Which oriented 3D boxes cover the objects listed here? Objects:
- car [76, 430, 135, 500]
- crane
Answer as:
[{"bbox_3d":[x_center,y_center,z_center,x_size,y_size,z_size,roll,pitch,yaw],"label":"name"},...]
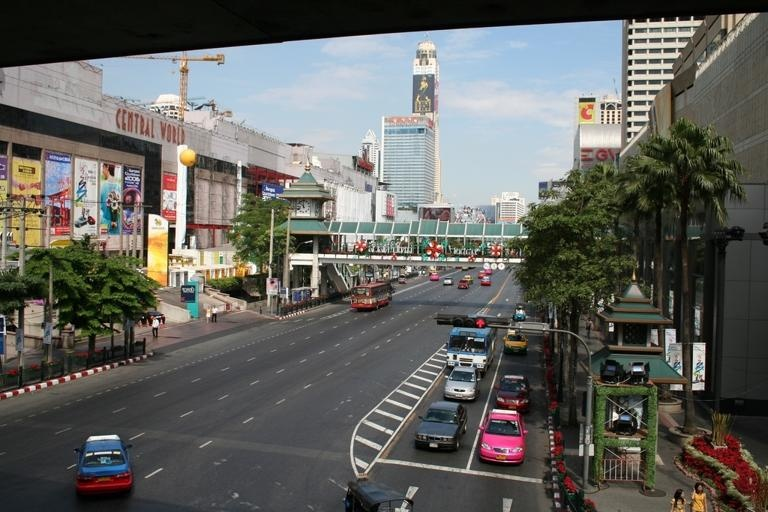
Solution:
[{"bbox_3d":[-12.841,9.782,34.118,2.439,2.718,1.996,-1,0,-16],"label":"car"},{"bbox_3d":[-45.501,-37.650,163.199,20.786,17.940,2.386,4,5,13],"label":"crane"}]
